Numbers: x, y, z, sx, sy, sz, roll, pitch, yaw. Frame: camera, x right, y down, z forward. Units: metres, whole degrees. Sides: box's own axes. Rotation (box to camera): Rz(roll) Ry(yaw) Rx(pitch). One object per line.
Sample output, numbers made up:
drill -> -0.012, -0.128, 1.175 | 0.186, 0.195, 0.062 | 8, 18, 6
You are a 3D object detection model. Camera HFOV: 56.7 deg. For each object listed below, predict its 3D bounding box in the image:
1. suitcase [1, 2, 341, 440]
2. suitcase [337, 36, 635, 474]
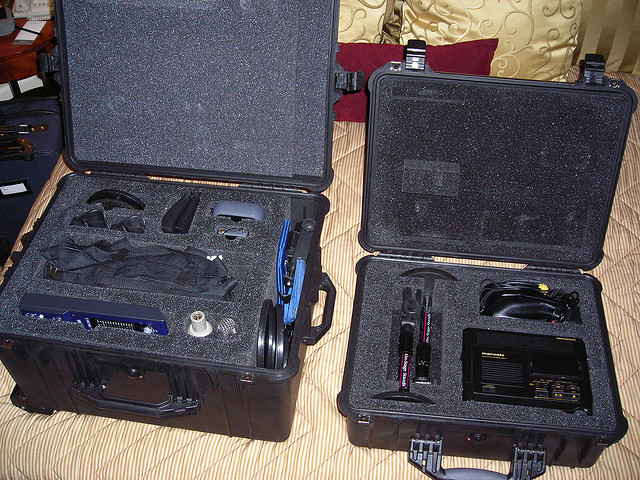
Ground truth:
suitcase -> -0.466, -0.109, 2.195 | 1.084, 0.991, 1.439 | 5, 55, 1
suitcase -> 0.531, 0.033, 2.167 | 0.966, 0.932, 1.435 | 5, 60, 7
